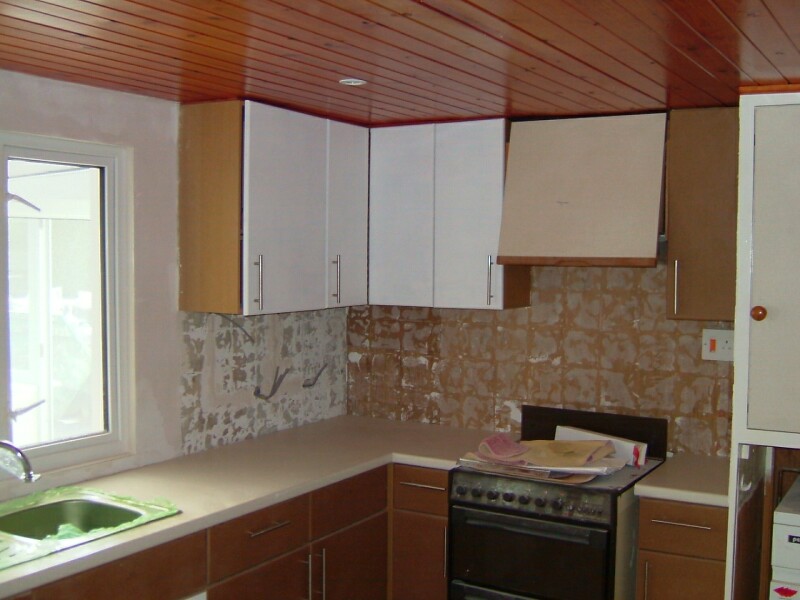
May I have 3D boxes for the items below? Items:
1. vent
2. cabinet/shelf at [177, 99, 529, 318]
[{"bbox_3d":[0.836,-0.504,3.290,0.698,0.675,0.234,0,-5,27],"label":"vent"},{"bbox_3d":[-0.259,-0.399,3.324,1.097,0.817,1.143,1,4,25],"label":"cabinet/shelf"}]
